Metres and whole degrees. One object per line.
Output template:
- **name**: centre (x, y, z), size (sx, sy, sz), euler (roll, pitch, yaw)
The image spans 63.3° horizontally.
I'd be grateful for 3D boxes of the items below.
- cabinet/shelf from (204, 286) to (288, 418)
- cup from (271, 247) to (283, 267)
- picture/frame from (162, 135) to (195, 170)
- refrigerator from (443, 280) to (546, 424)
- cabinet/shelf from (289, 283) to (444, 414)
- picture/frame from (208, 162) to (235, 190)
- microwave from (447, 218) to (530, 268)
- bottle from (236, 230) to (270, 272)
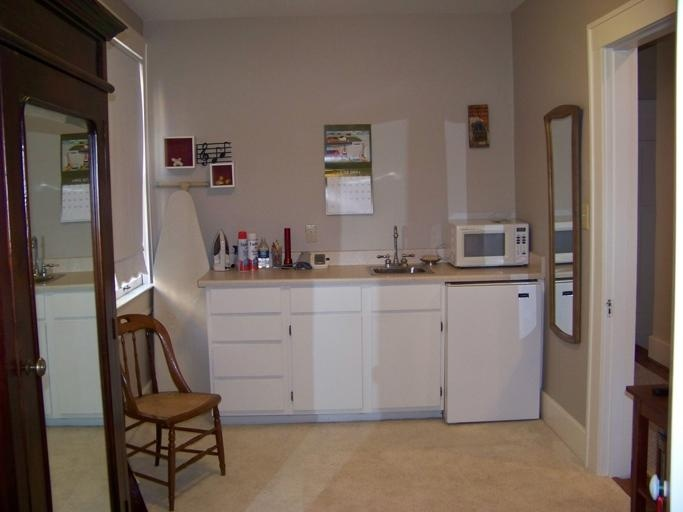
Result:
- **cabinet/shelf**: centre (-0.751, 0.895, 4.102), size (0.563, 1.222, 0.757), euler (1, 23, -1)
- **cup**: centre (-0.492, 0.000, 4.180), size (0.084, 0.134, 0.100), euler (-4, 14, -8)
- **picture/frame**: centre (-1.252, -0.787, 4.212), size (0.275, 0.309, 0.145), euler (1, 13, 7)
- **refrigerator**: centre (0.991, 0.657, 4.096), size (0.770, 1.341, 0.817), euler (-1, 2, -1)
- **cabinet/shelf**: centre (0.148, 0.572, 3.710), size (0.717, 0.711, 0.277), euler (0, 2, -2)
- **picture/frame**: centre (-0.903, -0.611, 4.132), size (0.164, 0.186, 0.060), euler (0, 1, 1)
- **microwave**: centre (1.053, -0.079, 4.023), size (0.422, 0.311, 0.330), euler (-1, 3, 0)
- **bottle**: centre (-0.656, -0.056, 4.138), size (0.241, 0.277, 0.215), euler (-3, 14, -7)
